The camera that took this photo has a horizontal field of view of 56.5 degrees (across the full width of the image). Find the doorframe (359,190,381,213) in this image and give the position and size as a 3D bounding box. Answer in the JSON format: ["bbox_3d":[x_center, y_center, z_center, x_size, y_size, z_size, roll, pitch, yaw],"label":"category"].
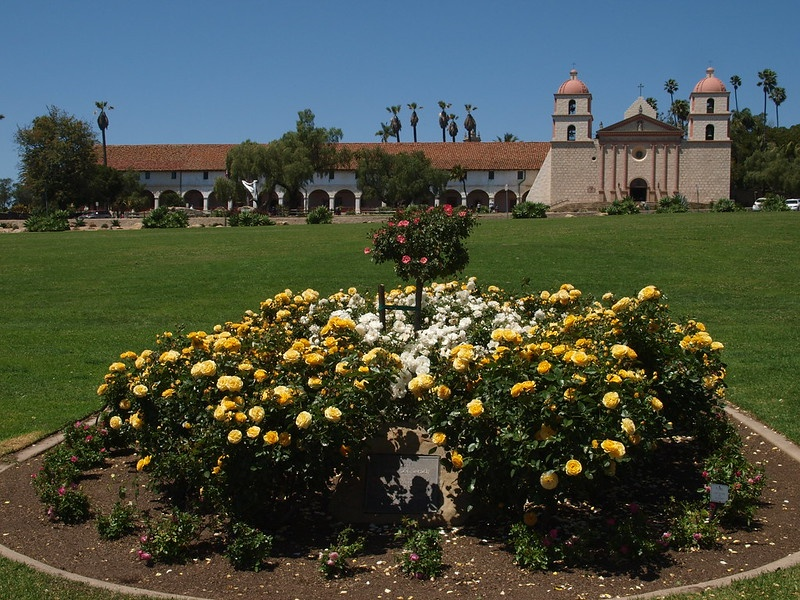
[{"bbox_3d":[-2.696,-9.008,67.858,2.636,1.591,2.638,2,19,3],"label":"doorframe"}]

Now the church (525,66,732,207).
[{"bbox_3d":[19.120,-12.832,60.510,14.239,10.126,3.013,0,12,5],"label":"church"}]
